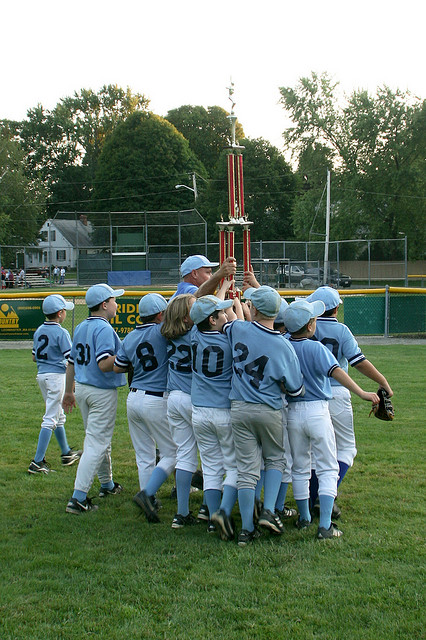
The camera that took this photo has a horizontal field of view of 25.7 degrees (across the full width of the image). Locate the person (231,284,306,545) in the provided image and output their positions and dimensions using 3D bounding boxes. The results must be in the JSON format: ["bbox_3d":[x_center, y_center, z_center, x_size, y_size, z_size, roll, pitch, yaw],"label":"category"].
[{"bbox_3d":[0.393,0.643,6.693,0.527,1.748,0.768,1,2,2],"label":"person"}]

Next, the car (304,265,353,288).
[{"bbox_3d":[3.812,-1.286,30.474,1.629,0.753,0.967,0,6,20],"label":"car"}]
